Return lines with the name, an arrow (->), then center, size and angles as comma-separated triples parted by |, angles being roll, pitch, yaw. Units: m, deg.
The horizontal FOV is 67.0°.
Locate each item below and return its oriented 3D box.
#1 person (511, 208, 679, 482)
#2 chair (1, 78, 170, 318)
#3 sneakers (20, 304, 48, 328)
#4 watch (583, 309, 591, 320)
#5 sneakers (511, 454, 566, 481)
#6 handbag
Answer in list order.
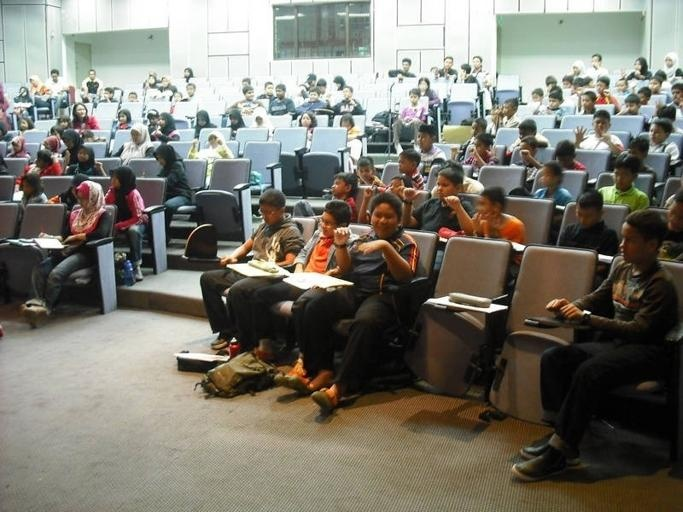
person -> 1.262, 0.410, 2.576 | 0.916, 1.221, 0.465 | -9, 15, -29
chair -> -2.619, -0.156, 5.137 | 0.816, 1.354, 1.317 | 11, 19, 43
sneakers -> -2.827, 0.546, 4.682 | 0.329, 0.196, 0.146 | 5, 15, 26
watch -> 1.225, 0.305, 2.592 | 0.030, 0.048, 0.042 | 7, 2, 22
sneakers -> 0.937, 1.014, 2.500 | 0.276, 0.119, 0.103 | -7, 12, -9
handbag -> -0.685, 0.732, 3.398 | 0.380, 0.161, 0.277 | -6, 11, -41
